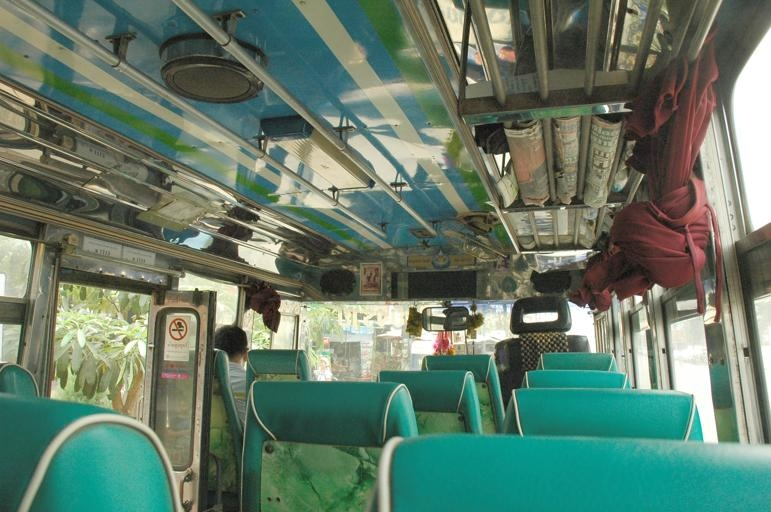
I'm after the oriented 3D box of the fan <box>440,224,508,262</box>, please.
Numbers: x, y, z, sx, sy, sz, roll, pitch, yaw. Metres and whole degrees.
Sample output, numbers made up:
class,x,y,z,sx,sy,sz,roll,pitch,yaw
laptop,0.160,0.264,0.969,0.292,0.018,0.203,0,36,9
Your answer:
class,x,y,z,sx,sy,sz,roll,pitch,yaw
fan,1.301,-0.033,8.997,1.031,0.342,1.520,-1,-19,9
